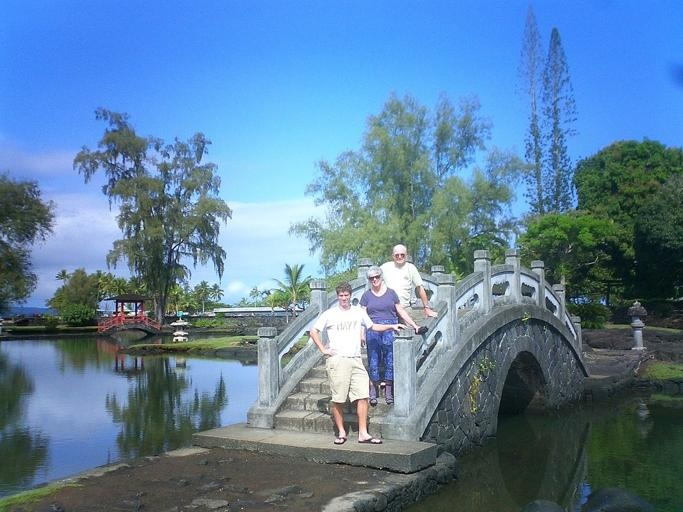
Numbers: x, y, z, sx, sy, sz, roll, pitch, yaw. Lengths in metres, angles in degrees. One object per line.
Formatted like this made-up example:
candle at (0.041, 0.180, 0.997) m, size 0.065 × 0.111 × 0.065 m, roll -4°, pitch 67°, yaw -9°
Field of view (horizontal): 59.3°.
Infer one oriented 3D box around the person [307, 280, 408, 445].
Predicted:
person at (0.084, 2.020, 11.337) m, size 1.342 × 3.038 × 0.717 m, roll 1°, pitch 5°, yaw -4°

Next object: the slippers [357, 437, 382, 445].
slippers at (0.530, 3.467, 11.198) m, size 0.304 × 0.100 × 0.173 m, roll -6°, pitch -6°, yaw 21°

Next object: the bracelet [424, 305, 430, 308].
bracelet at (1.812, 1.085, 12.901) m, size 0.113 × 0.039 × 0.129 m, roll -15°, pitch -19°, yaw 26°

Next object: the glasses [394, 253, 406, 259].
glasses at (1.237, -0.012, 12.757) m, size 0.227 × 0.109 × 0.152 m, roll 0°, pitch 5°, yaw -17°
